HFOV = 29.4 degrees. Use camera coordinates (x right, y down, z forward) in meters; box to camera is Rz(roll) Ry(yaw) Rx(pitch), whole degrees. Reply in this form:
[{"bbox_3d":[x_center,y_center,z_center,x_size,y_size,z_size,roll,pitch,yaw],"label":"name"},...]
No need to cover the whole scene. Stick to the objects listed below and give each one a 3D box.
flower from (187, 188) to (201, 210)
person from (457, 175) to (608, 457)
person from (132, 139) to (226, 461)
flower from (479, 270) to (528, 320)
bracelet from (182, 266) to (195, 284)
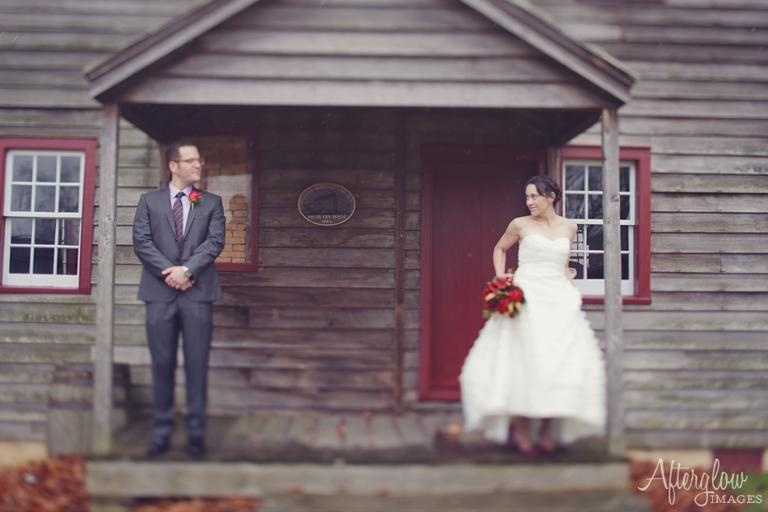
[{"bbox_3d":[-2.220,-0.664,17.080,0.194,0.181,0.179,14,-15,-23],"label":"flower"},{"bbox_3d":[1.789,0.681,17.125,1.610,3.200,0.421,0,-4,8],"label":"person"},{"bbox_3d":[-2.399,0.497,16.998,1.041,3.631,0.308,1,-4,-9],"label":"person"},{"bbox_3d":[1.431,0.472,17.069,0.513,0.395,0.519,-1,-2,0],"label":"flower"},{"bbox_3d":[-2.263,0.232,16.911,0.132,0.157,0.051,-25,14,15],"label":"bracelet"}]
